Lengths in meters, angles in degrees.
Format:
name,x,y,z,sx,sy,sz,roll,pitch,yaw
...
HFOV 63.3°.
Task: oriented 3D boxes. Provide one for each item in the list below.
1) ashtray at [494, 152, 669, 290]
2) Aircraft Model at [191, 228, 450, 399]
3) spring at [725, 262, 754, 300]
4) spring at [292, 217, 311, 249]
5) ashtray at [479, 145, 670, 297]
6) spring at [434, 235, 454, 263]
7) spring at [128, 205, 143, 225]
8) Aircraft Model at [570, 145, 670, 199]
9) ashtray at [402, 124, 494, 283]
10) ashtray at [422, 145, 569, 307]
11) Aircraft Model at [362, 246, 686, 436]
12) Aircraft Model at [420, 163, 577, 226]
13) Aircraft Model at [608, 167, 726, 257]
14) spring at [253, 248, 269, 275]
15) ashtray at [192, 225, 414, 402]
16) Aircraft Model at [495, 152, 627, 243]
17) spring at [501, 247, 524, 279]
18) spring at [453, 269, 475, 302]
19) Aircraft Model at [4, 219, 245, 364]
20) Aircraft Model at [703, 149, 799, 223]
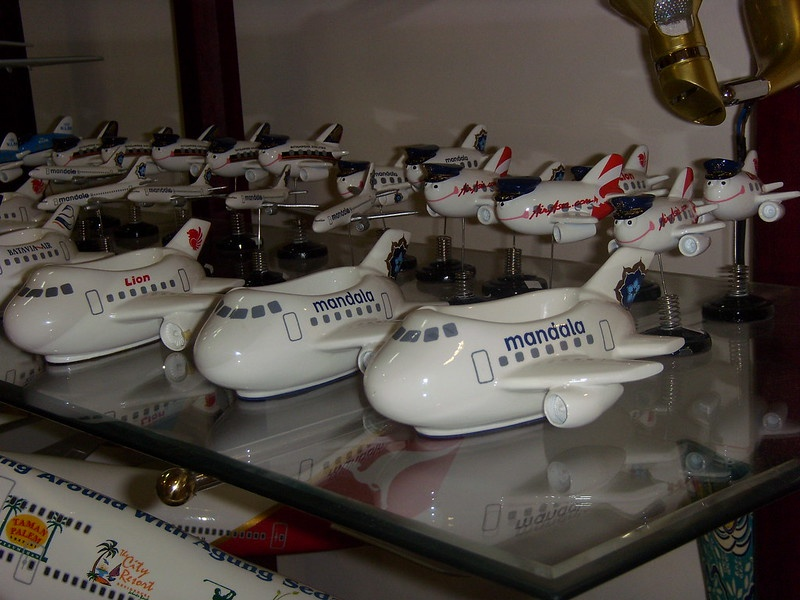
name,x,y,z,sx,sy,sz,roll,pitch,yaw
ashtray,0.217,-0.132,0.855,0.180,0.096,0.251,-10,14,-15
Aircraft Model,-0.060,0.000,0.783,0.298,0.164,0.357,-3,14,-4
spring,0.438,-0.024,0.855,0.040,0.044,0.042,-9,3,-3
spring,-0.188,-0.126,1.227,0.047,0.052,0.048,-2,1,0
ashtray,0.218,-0.136,0.853,0.177,0.108,0.261,-6,2,-1
spring,0.081,-0.087,1.092,0.038,0.043,0.039,1,5,15
spring,-0.581,-0.187,1.435,0.037,0.043,0.038,-1,9,-8
Aircraft Model,0.334,-0.196,0.978,0.131,0.057,0.147,4,15,33
ashtray,0.082,-0.162,1.083,0.192,0.267,0.109,-29,47,-35
ashtray,0.110,-0.112,1.017,0.210,0.225,0.225,-8,12,-35
Aircraft Model,0.151,0.043,0.599,0.356,0.139,0.142,-8,16,-25
Aircraft Model,0.092,-0.154,0.918,0.109,0.060,0.145,-17,21,-39
Aircraft Model,0.306,-0.090,0.732,0.125,0.081,0.123,-12,15,-35
spring,-0.227,-0.064,1.053,0.035,0.042,0.036,2,5,31
ashtray,-0.072,-0.003,0.779,0.276,0.165,0.347,-5,15,-6
Aircraft Model,0.211,-0.131,0.861,0.142,0.118,0.171,7,17,30
spring,0.173,-0.057,0.990,0.040,0.045,0.040,0,2,15
spring,0.089,-0.021,0.932,0.044,0.051,0.045,-1,3,2
Aircraft Model,-0.343,-0.056,0.785,0.199,0.094,0.183,14,21,43
Aircraft Model,0.415,-0.127,0.776,0.095,0.061,0.105,-2,5,-43
